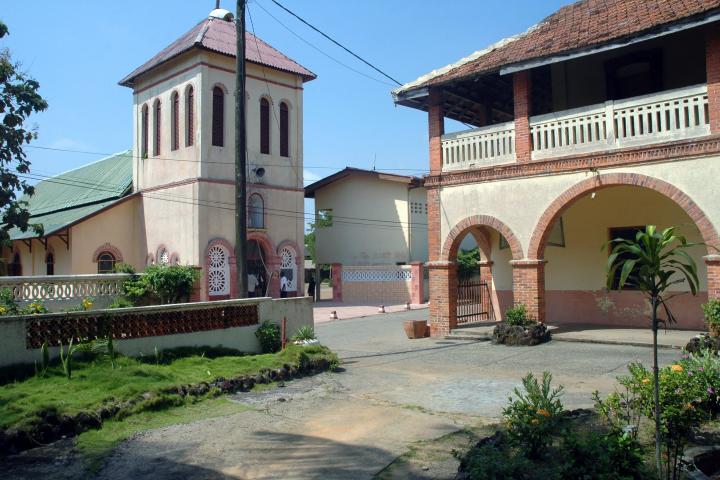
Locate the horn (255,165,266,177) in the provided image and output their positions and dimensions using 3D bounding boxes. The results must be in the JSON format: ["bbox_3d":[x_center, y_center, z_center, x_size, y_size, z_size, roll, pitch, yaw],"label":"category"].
[{"bbox_3d":[-4.754,-3.286,29.088,0.212,0.502,0.678,8,13,31],"label":"horn"}]

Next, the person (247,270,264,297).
[{"bbox_3d":[-5.077,2.113,29.416,0.988,1.195,0.691,-8,14,-38],"label":"person"}]

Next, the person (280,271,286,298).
[{"bbox_3d":[-3.760,2.173,29.889,0.312,1.221,0.720,1,11,0],"label":"person"}]
